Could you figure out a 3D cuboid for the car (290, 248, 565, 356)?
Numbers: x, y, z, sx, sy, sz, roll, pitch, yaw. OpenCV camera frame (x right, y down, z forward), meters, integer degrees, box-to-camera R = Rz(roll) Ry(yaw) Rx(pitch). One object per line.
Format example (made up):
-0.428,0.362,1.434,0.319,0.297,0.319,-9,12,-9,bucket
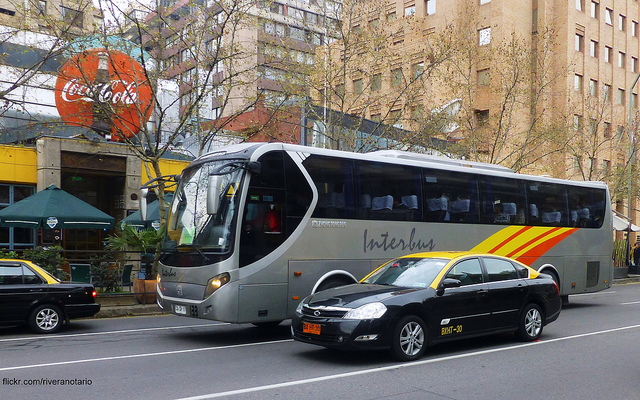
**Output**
3.013,2.710,14.182,6.741,2.042,2.774,5,-9,-31,car

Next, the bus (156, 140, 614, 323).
3.832,1.228,19.817,17.744,5.188,4.569,4,-3,-31,bus

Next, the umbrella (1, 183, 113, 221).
-11.670,0.340,23.409,2.312,1.039,2.338,-2,-3,24,umbrella

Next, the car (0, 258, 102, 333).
-8.127,2.850,16.416,2.981,1.291,1.523,1,-4,-32,car
